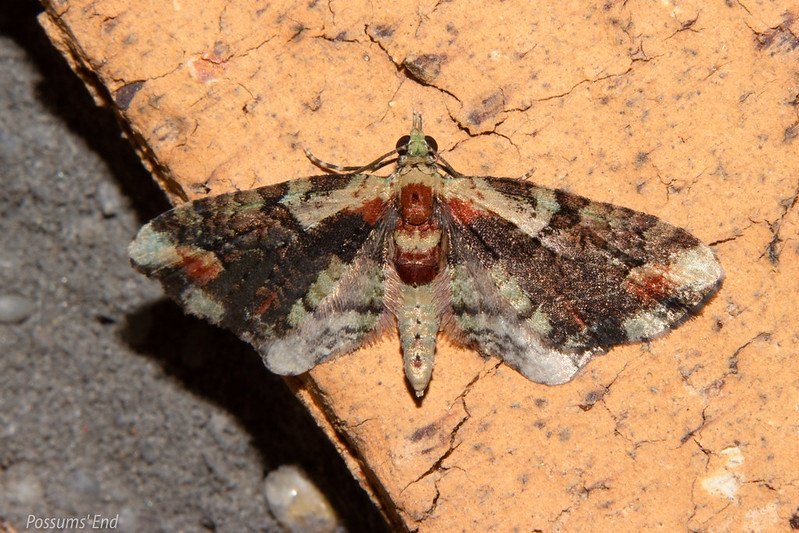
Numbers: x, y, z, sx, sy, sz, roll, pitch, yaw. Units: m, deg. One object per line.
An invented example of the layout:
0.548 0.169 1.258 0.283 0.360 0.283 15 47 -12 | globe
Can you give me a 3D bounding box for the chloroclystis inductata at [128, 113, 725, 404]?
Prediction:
0.219 0.018 7.434 4.176 0.634 1.689 3 86 0 | chloroclystis inductata
